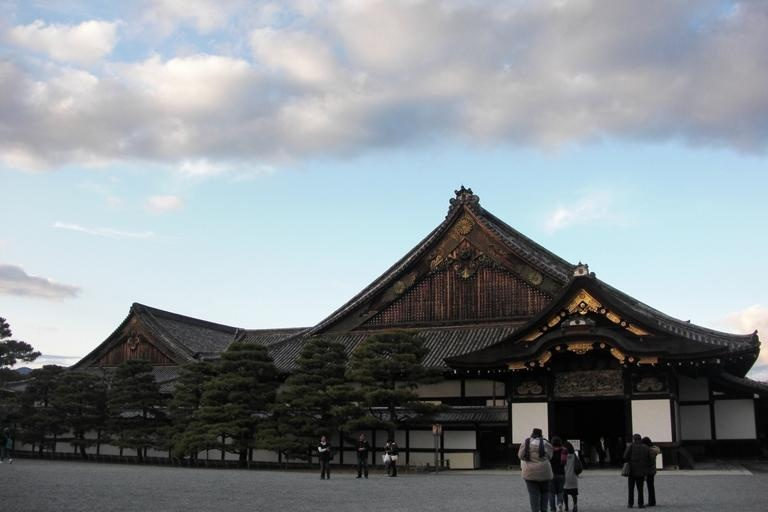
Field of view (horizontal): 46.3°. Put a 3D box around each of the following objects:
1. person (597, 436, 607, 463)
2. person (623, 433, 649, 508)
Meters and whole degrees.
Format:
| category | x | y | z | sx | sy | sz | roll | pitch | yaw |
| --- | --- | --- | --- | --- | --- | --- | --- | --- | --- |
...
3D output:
| category | x | y | z | sx | sy | sz | roll | pitch | yaw |
| --- | --- | --- | --- | --- | --- | --- | --- | --- | --- |
| person | 12.572 | 11.094 | 51.625 | 0.485 | 1.387 | 1.317 | -2 | -15 | 15 |
| person | 9.703 | 8.220 | 34.475 | 0.917 | 2.747 | 1.584 | -2 | -15 | 15 |
